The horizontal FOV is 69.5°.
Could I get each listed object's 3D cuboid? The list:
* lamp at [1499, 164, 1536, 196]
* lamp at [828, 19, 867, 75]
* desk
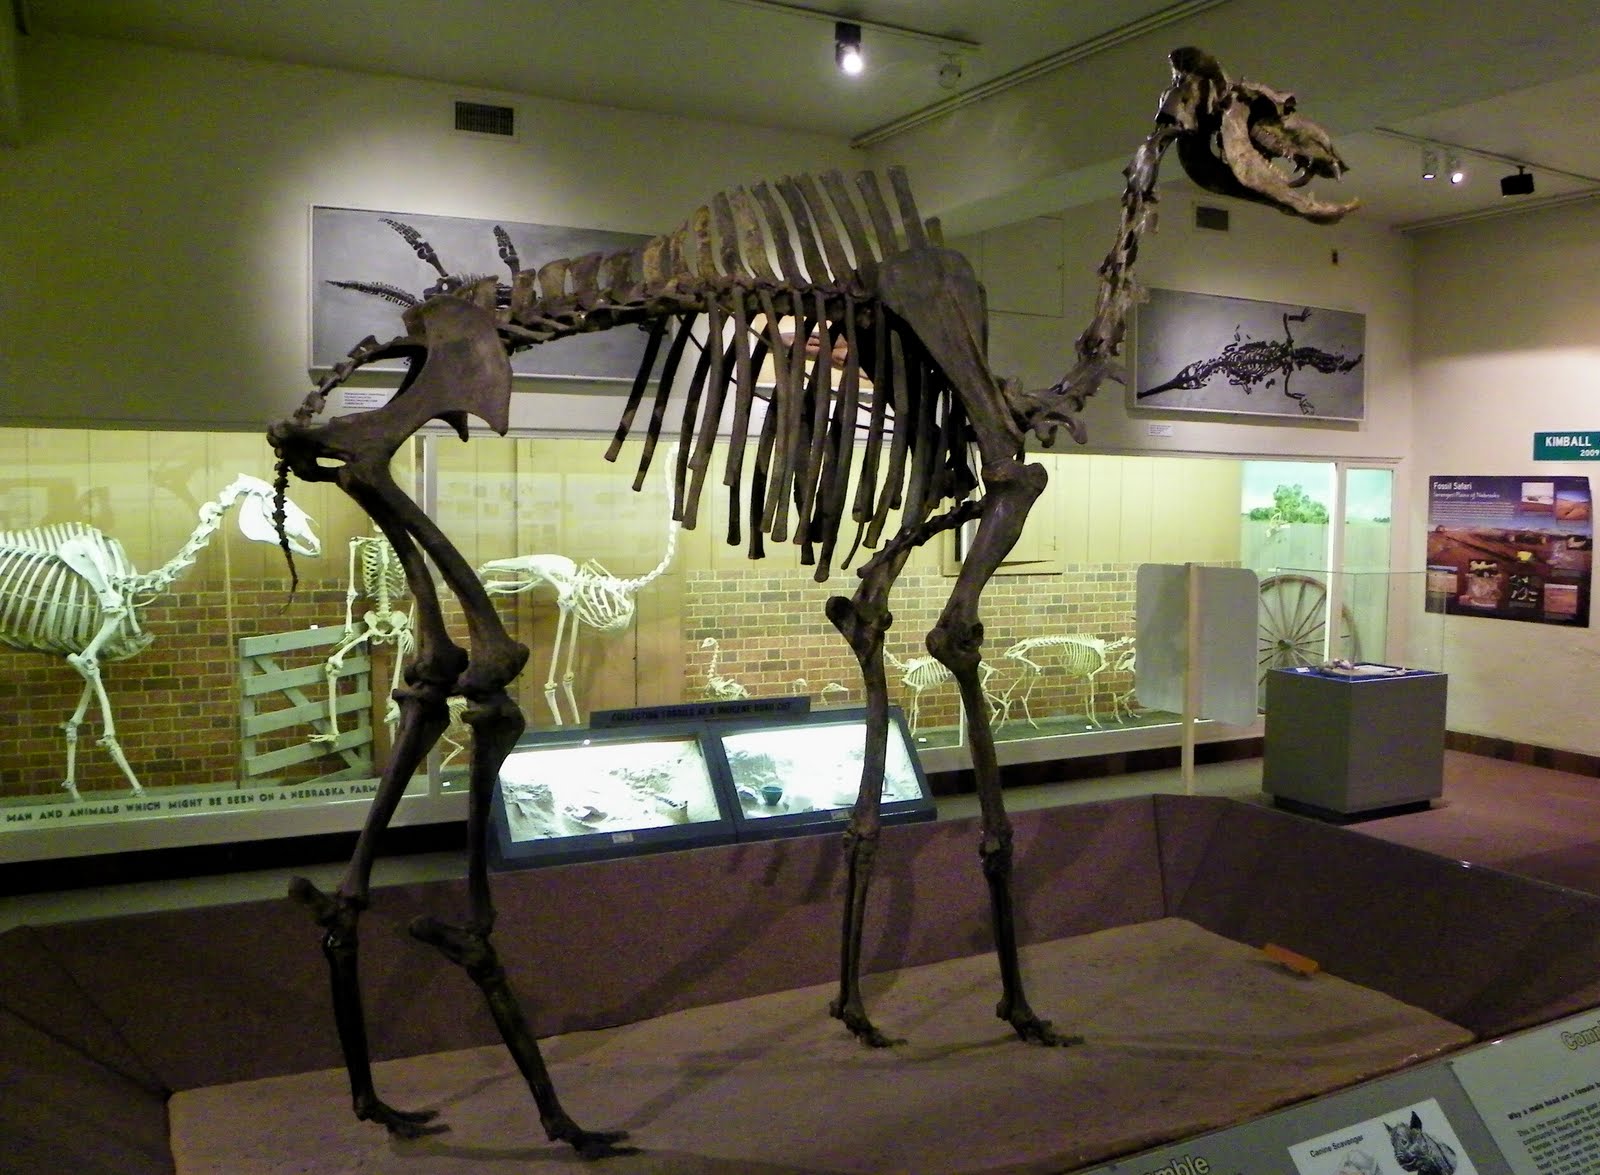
[{"bbox_3d":[4.065,-2.283,6.525,0.186,0.180,0.181,0,2,10],"label":"lamp"},{"bbox_3d":[0.160,-1.829,3.905,0.123,0.213,0.111,-5,7,-29],"label":"lamp"},{"bbox_3d":[3.124,0.782,6.475,0.858,0.882,0.844,0,-1,-24],"label":"desk"}]
